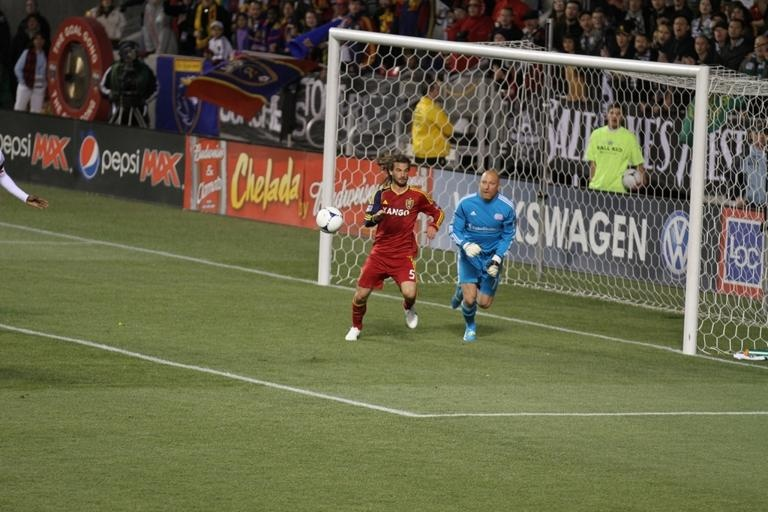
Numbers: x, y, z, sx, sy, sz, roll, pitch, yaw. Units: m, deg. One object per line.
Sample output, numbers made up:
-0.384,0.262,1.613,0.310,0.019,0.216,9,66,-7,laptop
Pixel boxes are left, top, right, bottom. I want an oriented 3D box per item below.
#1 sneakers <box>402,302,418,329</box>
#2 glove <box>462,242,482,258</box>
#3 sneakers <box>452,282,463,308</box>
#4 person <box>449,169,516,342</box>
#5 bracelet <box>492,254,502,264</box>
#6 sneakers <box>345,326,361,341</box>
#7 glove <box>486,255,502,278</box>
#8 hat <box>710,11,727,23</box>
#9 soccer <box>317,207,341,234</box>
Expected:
0.323,0.774,15.488,0.134,0.367,0.146,-11,11,10,sneakers
1.095,-0.090,14.969,0.172,0.171,0.075,10,22,30,glove
0.968,0.514,15.785,0.110,0.139,0.342,2,-28,-1,sneakers
1.181,-0.024,15.325,0.828,2.177,0.767,5,4,14,person
1.432,0.045,15.103,0.107,0.104,0.076,30,-53,-31,bracelet
-0.397,0.955,14.995,0.186,0.172,0.308,4,4,-3,sneakers
1.394,0.114,15.084,0.124,0.273,0.238,6,4,25,glove
5.434,-3.853,19.346,0.198,0.257,0.340,5,4,12,hat
-0.707,-0.473,15.399,0.306,0.324,0.343,4,4,-4,soccer
